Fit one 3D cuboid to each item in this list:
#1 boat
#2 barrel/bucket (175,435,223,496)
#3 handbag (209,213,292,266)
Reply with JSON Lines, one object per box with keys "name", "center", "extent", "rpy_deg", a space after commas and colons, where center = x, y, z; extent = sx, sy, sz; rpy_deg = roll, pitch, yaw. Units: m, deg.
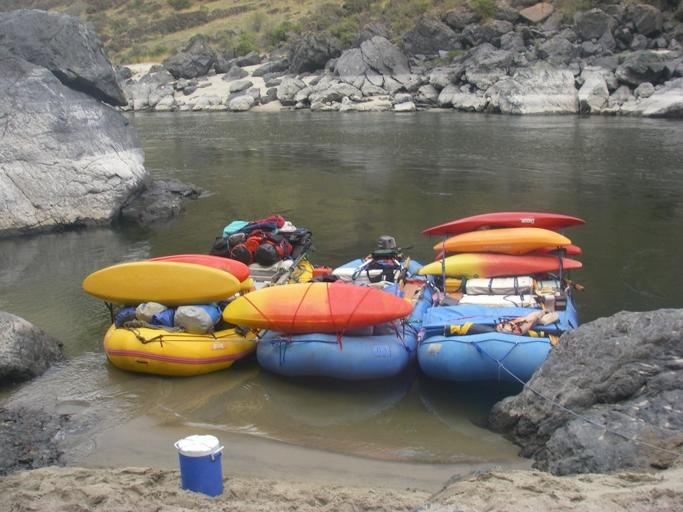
{"name": "boat", "center": [0.162, 0.654, 15.816], "extent": [8.623, 2.505, 3.754], "rpy_deg": [0, 16, 7]}
{"name": "barrel/bucket", "center": [-2.132, 3.176, 12.318], "extent": [0.676, 0.898, 0.445], "rpy_deg": [-5, 19, -9]}
{"name": "handbag", "center": [-1.749, -0.390, 17.326], "extent": [1.583, 0.486, 1.286], "rpy_deg": [2, 27, 18]}
